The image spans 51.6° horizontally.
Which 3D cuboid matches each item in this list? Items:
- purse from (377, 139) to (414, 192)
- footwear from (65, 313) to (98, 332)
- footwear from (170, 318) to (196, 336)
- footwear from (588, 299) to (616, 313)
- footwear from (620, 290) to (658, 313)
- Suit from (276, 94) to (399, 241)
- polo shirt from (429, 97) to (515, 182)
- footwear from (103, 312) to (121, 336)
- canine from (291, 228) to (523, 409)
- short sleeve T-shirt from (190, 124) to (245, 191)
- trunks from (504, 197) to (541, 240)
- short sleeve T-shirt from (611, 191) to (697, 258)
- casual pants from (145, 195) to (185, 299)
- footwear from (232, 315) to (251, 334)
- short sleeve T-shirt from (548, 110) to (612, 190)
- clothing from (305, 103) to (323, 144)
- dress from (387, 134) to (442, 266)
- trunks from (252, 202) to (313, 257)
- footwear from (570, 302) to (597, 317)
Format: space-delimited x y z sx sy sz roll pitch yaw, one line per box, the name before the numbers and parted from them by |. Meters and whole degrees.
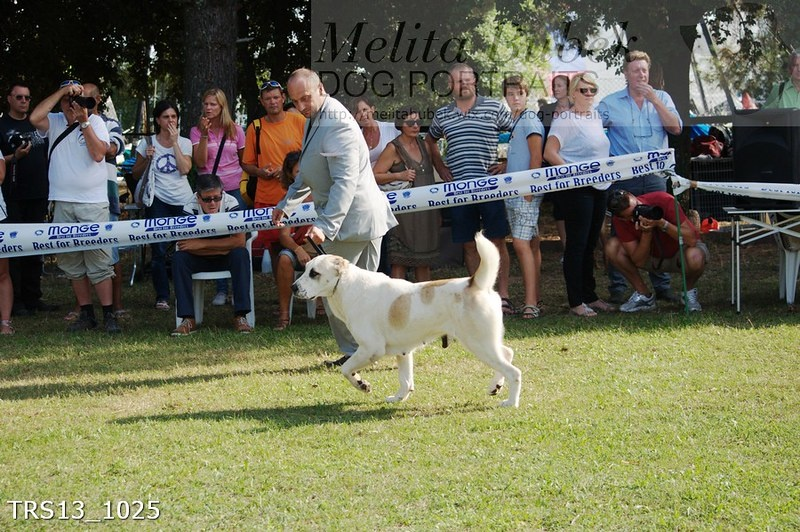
purse | -0.117 -1.236 10.711 0.527 0.843 0.883 -1 6 9
footwear | -4.260 0.758 10.980 0.488 0.219 0.175 3 4 -5
footwear | -2.755 0.785 10.532 0.137 0.144 0.366 -1 -4 18
footwear | 2.722 0.536 11.049 0.406 0.179 0.146 0 15 15
footwear | 3.135 0.490 10.883 0.552 0.285 0.209 -2 2 -7
Suit | -0.619 -0.948 8.270 1.046 1.468 0.904 -2 13 2
polo shirt | 0.912 -1.694 10.960 1.163 1.103 0.637 0 11 17
footwear | -3.805 0.737 10.910 0.148 0.183 0.433 -3 4 -25
canine | 0.058 0.554 8.014 2.274 1.614 0.621 -1 1 19
short sleeve T-shirt | -2.537 -1.529 11.653 0.767 0.906 0.460 -2 16 -18
trunks | 1.590 -0.634 10.762 0.403 0.628 0.481 -16 10 -38
short sleeve T-shirt | 3.396 -0.586 10.937 0.919 0.922 0.368 8 48 46
casual pants | -3.507 -0.244 12.298 0.351 1.561 0.467 11 4 -38
footwear | -2.028 0.754 10.612 0.187 0.196 0.507 -4 -2 -18
short sleeve T-shirt | 2.286 -1.452 10.567 0.975 0.895 0.530 -8 6 -21
clothing | -0.866 -1.389 8.236 0.204 0.355 0.086 26 11 39
dress | 0.442 -0.894 11.002 0.719 1.832 0.488 -8 -2 24
trunks | -1.784 -0.507 11.413 1.286 0.309 0.260 -12 6 43
footwear | 2.362 0.592 10.810 0.397 0.169 0.135 -4 -5 35
